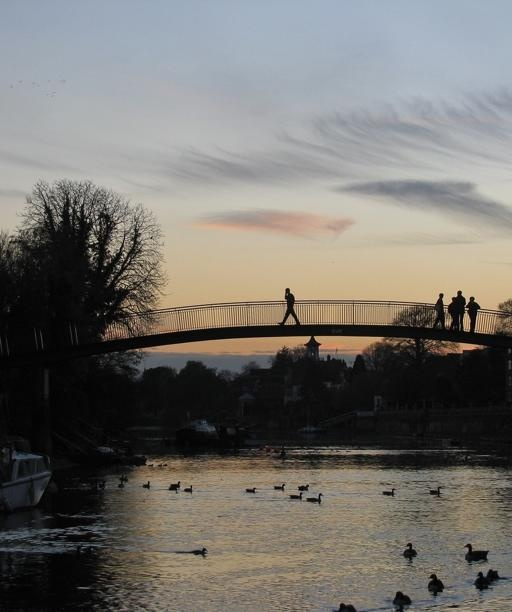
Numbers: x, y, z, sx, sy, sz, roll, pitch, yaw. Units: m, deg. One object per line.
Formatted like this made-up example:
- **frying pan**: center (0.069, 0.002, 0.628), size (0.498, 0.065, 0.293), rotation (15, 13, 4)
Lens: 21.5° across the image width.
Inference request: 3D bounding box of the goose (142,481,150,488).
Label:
- **goose**: center (-4.086, 6.711, 51.023), size (0.273, 0.348, 0.365), rotation (1, 0, -9)

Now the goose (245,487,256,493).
- **goose**: center (-0.141, 6.664, 49.064), size (0.224, 0.161, 0.333), rotation (19, -18, -32)

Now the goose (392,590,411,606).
- **goose**: center (3.291, 6.528, 30.221), size (0.399, 0.300, 0.470), rotation (0, -4, 6)

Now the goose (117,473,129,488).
- **goose**: center (-5.238, 6.786, 52.344), size (0.588, 0.546, 0.279), rotation (-4, -6, 9)

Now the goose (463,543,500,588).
- **goose**: center (5.546, 6.338, 32.987), size (0.820, 0.708, 3.335), rotation (-1, -4, 8)
